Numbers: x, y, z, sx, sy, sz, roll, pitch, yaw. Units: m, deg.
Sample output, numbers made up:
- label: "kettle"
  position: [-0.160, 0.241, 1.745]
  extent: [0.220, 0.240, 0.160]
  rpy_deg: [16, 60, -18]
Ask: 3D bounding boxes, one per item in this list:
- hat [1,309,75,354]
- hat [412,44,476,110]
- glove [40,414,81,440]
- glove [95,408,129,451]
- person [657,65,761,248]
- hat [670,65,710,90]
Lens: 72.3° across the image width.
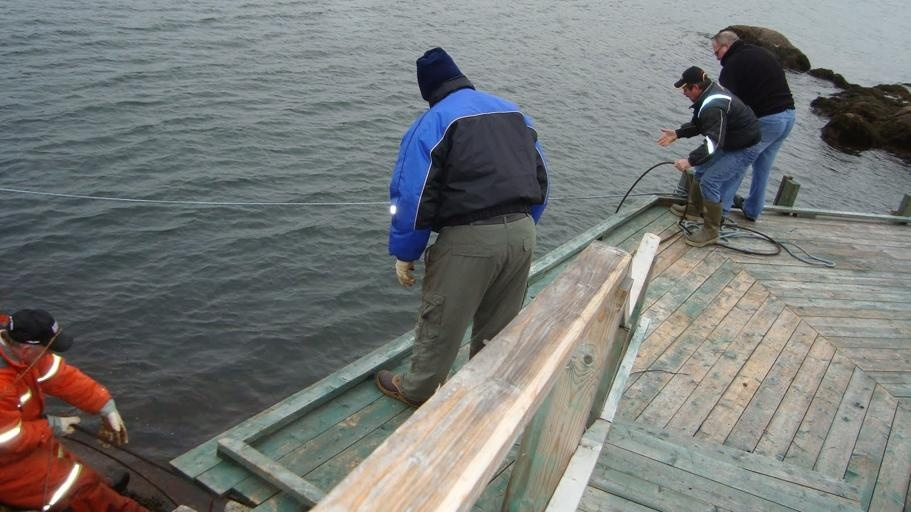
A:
- label: "hat"
  position: [-4.788, 0.865, 7.260]
  extent: [0.790, 0.331, 0.399]
  rpy_deg: [17, 33, -26]
- label: "hat"
  position: [-0.164, -2.026, 7.105]
  extent: [0.696, 0.614, 0.554]
  rpy_deg: [-31, 13, -15]
- label: "glove"
  position: [-4.768, 2.033, 7.531]
  extent: [0.384, 0.475, 0.213]
  rpy_deg: [0, 73, -32]
- label: "glove"
  position: [-4.347, 2.184, 7.823]
  extent: [0.507, 0.728, 0.225]
  rpy_deg: [29, 49, -8]
- label: "person"
  position: [3.850, -1.494, 9.454]
  extent: [1.104, 2.444, 1.371]
  rpy_deg: [-19, 43, -28]
- label: "hat"
  position: [3.480, -2.625, 9.202]
  extent: [0.502, 0.261, 0.319]
  rpy_deg: [6, 42, 30]
